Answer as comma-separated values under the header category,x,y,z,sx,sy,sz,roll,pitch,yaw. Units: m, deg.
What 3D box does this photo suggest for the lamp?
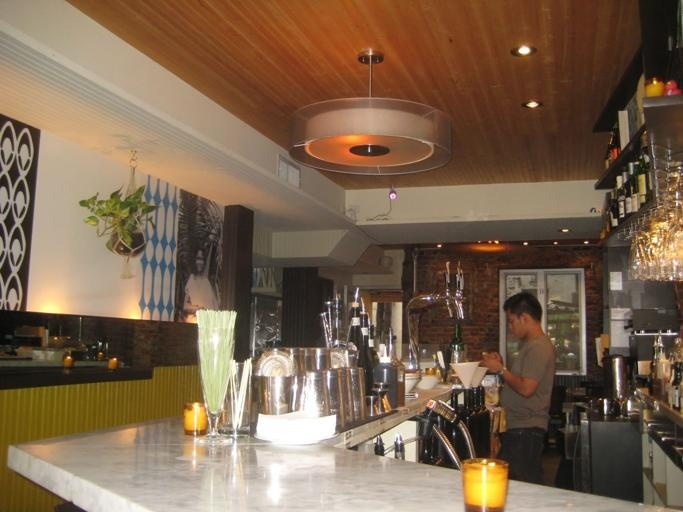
category,x,y,z,sx,sy,sz,roll,pitch,yaw
lamp,0.203,-1.086,3.880,1.130,0.839,1.074,-2,-10,12

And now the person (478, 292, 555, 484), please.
category,x,y,z,sx,sy,sz,roll,pitch,yaw
person,1.418,1.014,4.178,0.512,1.490,0.522,3,-9,-13

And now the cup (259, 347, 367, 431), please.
category,x,y,z,sx,sy,sz,roll,pitch,yaw
cup,-0.110,0.581,2.399,0.488,0.340,0.306,-1,-9,3
